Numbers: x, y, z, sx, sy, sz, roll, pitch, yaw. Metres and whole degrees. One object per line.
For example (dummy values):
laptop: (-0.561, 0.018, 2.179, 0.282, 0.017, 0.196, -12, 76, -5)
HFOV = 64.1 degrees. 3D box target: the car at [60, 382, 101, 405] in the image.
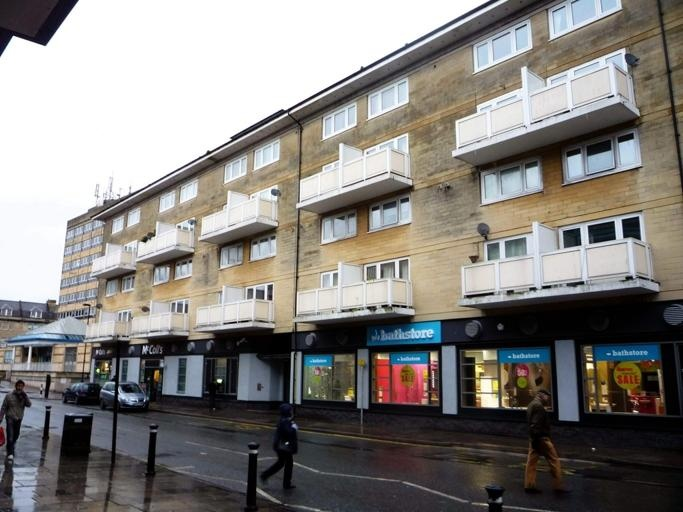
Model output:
car: (-17.187, 9.002, 36.130, 1.558, 1.230, 2.849, 12, -15, -39)

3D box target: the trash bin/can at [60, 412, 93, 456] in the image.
trash bin/can: (-7.374, 4.934, 15.159, 0.714, 1.102, 0.667, 5, -16, -24)

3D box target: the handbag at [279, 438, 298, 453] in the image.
handbag: (-1.188, 4.217, 12.108, 0.301, 0.216, 0.296, 21, -22, -10)

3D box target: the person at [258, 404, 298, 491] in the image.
person: (-1.359, 4.231, 12.111, 0.713, 1.810, 0.889, 3, -15, -15)
